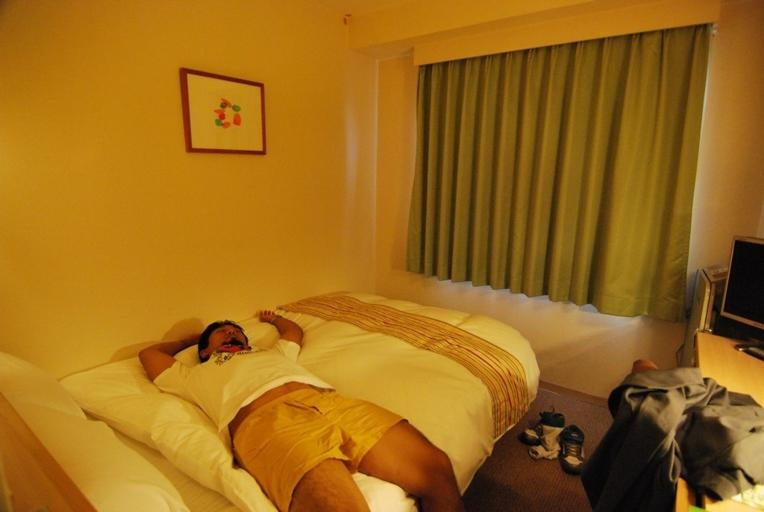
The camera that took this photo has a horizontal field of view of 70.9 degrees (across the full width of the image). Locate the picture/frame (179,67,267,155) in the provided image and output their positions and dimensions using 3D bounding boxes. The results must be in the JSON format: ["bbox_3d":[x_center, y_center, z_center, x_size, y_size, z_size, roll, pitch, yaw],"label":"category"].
[{"bbox_3d":[-1.167,-1.049,3.828,0.028,0.556,0.664,12,17,42],"label":"picture/frame"}]

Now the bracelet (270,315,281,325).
[{"bbox_3d":[-0.784,0.464,3.937,0.058,0.043,0.050,-8,15,-18],"label":"bracelet"}]

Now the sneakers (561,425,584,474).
[{"bbox_3d":[1.246,1.271,3.525,0.116,0.119,0.318,-1,18,18],"label":"sneakers"}]

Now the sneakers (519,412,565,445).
[{"bbox_3d":[1.170,1.186,3.720,0.436,0.210,0.147,-6,2,6],"label":"sneakers"}]
